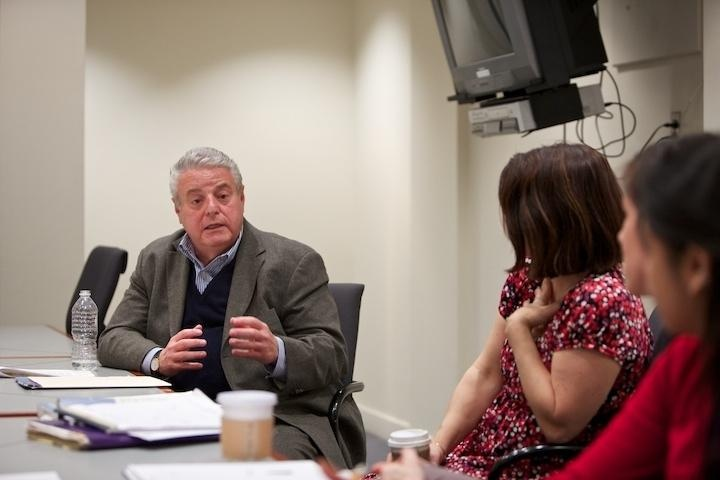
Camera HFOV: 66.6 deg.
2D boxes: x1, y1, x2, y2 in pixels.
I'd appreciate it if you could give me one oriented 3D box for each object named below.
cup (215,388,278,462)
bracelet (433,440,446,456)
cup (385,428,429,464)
[{"bbox_3d":[-0.240,0.400,1.221,0.138,0.142,0.143,1,-3,0],"label":"cup"},{"bbox_3d":[0.259,0.689,1.794,0.042,0.018,0.033,4,-4,-11],"label":"bracelet"},{"bbox_3d":[0.144,0.583,1.606,0.098,0.094,0.101,-1,1,0],"label":"cup"}]
